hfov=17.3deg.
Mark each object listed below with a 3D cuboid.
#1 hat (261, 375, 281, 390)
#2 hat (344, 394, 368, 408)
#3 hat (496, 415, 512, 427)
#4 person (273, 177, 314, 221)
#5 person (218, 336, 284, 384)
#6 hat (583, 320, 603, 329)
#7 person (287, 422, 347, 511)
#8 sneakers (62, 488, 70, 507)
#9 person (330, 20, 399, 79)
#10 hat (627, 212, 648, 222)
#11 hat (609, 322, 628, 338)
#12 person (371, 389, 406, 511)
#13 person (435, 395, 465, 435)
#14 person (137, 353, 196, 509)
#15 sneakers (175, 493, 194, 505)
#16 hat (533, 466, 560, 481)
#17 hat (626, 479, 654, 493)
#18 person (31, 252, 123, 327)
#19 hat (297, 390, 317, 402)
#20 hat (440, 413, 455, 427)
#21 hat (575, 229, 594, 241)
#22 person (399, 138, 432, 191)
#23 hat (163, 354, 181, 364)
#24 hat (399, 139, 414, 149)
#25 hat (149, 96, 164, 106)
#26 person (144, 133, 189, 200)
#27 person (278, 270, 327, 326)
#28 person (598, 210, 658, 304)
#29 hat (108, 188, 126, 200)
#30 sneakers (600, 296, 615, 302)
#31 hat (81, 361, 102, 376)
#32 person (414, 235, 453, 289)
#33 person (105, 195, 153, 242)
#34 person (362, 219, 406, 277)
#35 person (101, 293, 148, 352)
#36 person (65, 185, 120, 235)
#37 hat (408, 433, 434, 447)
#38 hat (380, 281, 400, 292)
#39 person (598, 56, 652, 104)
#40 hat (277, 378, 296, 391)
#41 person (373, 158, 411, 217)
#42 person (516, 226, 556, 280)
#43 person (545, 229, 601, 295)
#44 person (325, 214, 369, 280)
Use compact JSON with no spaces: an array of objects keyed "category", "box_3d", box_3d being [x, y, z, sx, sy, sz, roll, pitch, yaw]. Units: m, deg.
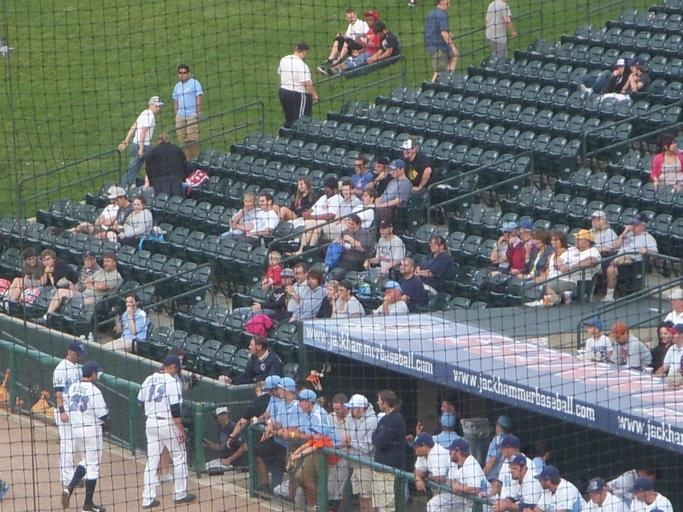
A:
[{"category":"hat","box_3d":[-0.928,1.628,29.068,0.213,0.113,0.165,1,33,29]},{"category":"hat","box_3d":[0.194,1.848,28.763,0.225,0.118,0.162,3,4,2]},{"category":"hat","box_3d":[2.053,2.077,28.370,0.119,0.123,0.159,9,17,4]},{"category":"person","box_3d":[-0.713,-0.842,32.838,0.659,0.753,0.403,7,-10,-38]},{"category":"person","box_3d":[-1.213,1.354,29.848,0.801,0.691,0.561,2,7,-16]},{"category":"hat","box_3d":[3.232,0.851,28.579,0.154,0.083,0.110,9,4,5]},{"category":"person","box_3d":[-0.384,2.672,28.822,0.644,0.993,0.671,0,31,13]},{"category":"sneakers","box_3d":[-3.597,3.117,29.058,0.091,0.230,0.098,-1,3,-3]},{"category":"person","box_3d":[0.298,-3.356,35.824,1.144,0.639,0.629,-27,52,14]},{"category":"hat","box_3d":[4.031,-0.541,30.308,0.211,0.108,0.137,-1,3,1]},{"category":"hat","box_3d":[3.519,0.937,28.519,0.157,0.203,0.194,4,-23,-14]},{"category":"person","box_3d":[0.571,2.438,28.403,0.481,1.180,1.208,-6,31,4]},{"category":"person","box_3d":[1.413,2.049,28.999,0.303,0.708,0.420,2,-9,-23]},{"category":"person","box_3d":[-2.375,2.262,29.137,0.651,1.681,1.156,-6,31,4]},{"category":"sneakers","box_3d":[-2.046,3.142,29.163,0.276,0.122,0.100,-8,25,-13]},{"category":"hat","box_3d":[2.563,2.680,27.773,0.232,0.136,0.155,4,5,7]},{"category":"hat","box_3d":[3.699,2.802,27.528,0.220,0.114,0.160,2,9,11]},{"category":"person","box_3d":[-3.656,0.369,32.097,1.363,0.559,0.740,-28,36,-30]},{"category":"hat","box_3d":[-0.457,1.775,28.864,0.193,0.095,0.139,22,10,-1]},{"category":"hat","box_3d":[1.344,2.073,28.415,0.209,0.153,0.342,2,-15,4]},{"category":"hat","box_3d":[3.318,-0.295,30.578,0.203,0.107,0.154,7,4,4]},{"category":"person","box_3d":[0.991,-1.321,32.756,0.581,0.812,0.487,-5,2,31]},{"category":"hat","box_3d":[-2.225,1.339,29.177,0.177,0.161,0.125,-13,30,-13]},{"category":"hat","box_3d":[0.952,-1.661,32.796,0.177,0.093,0.123,3,7,-21]},{"category":"hat","box_3d":[-2.827,-2.345,33.867,0.228,0.132,0.161,-1,16,-2]},{"category":"person","box_3d":[-2.635,-1.254,33.900,0.614,1.376,0.376,-2,32,-5]},{"category":"person","box_3d":[-0.515,0.571,30.813,0.439,0.779,0.373,6,6,-30]},{"category":"person","box_3d":[3.901,-0.033,30.251,0.708,0.870,0.953,0,31,13]},{"category":"hat","box_3d":[-3.358,-0.939,33.289,0.231,0.120,0.162,7,-6,-30]},{"category":"sneakers","box_3d":[3.574,0.558,30.092,0.152,0.094,0.085,5,6,18]},{"category":"hat","box_3d":[-3.279,1.443,29.265,0.154,0.136,0.235,11,27,20]},{"category":"person","box_3d":[1.300,0.082,31.102,0.501,0.783,0.576,0,8,-21]},{"category":"person","box_3d":[-3.141,-0.498,33.238,0.760,0.808,0.497,-3,1,-29]},{"category":"person","box_3d":[0.595,-0.117,31.338,0.564,0.827,0.590,-2,2,-26]},{"category":"person","box_3d":[-3.022,0.899,31.217,0.465,0.771,0.628,6,10,39]},{"category":"person","box_3d":[-3.569,-0.713,33.740,1.121,0.842,0.466,-1,23,2]},{"category":"hat","box_3d":[0.996,2.318,28.199,0.277,0.150,0.177,1,13,9]},{"category":"hat","box_3d":[0.679,0.377,30.168,0.171,0.085,0.121,21,-16,-34]},{"category":"person","box_3d":[4.369,-2.653,33.768,0.930,0.937,0.446,0,27,10]},{"category":"hat","box_3d":[-0.723,1.667,29.060,0.207,0.105,0.148,25,16,-5]},{"category":"person","box_3d":[0.699,-0.956,32.323,0.555,0.962,0.453,-8,26,-11]},{"category":"person","box_3d":[2.655,0.028,30.495,0.534,0.838,0.559,-7,7,-33]},{"category":"person","box_3d":[3.144,0.129,30.279,0.594,0.991,0.547,-2,10,1]},{"category":"person","box_3d":[0.063,-0.112,31.660,0.576,0.944,0.453,3,8,-3]}]
